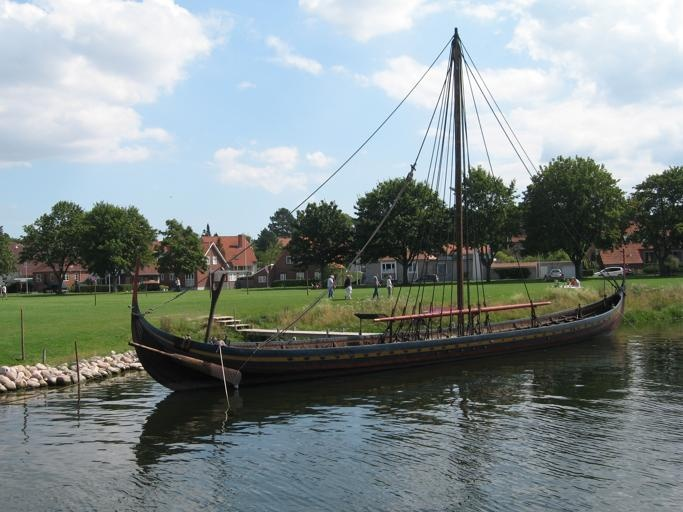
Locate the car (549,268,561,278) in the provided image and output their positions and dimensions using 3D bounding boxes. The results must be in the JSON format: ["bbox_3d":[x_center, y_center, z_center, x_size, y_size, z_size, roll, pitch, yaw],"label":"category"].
[{"bbox_3d":[33.738,2.756,103.188,1.484,1.258,2.533,0,6,19],"label":"car"}]

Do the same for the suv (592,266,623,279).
[{"bbox_3d":[35.234,2.211,86.567,3.127,1.435,1.765,2,-3,-7],"label":"suv"}]
